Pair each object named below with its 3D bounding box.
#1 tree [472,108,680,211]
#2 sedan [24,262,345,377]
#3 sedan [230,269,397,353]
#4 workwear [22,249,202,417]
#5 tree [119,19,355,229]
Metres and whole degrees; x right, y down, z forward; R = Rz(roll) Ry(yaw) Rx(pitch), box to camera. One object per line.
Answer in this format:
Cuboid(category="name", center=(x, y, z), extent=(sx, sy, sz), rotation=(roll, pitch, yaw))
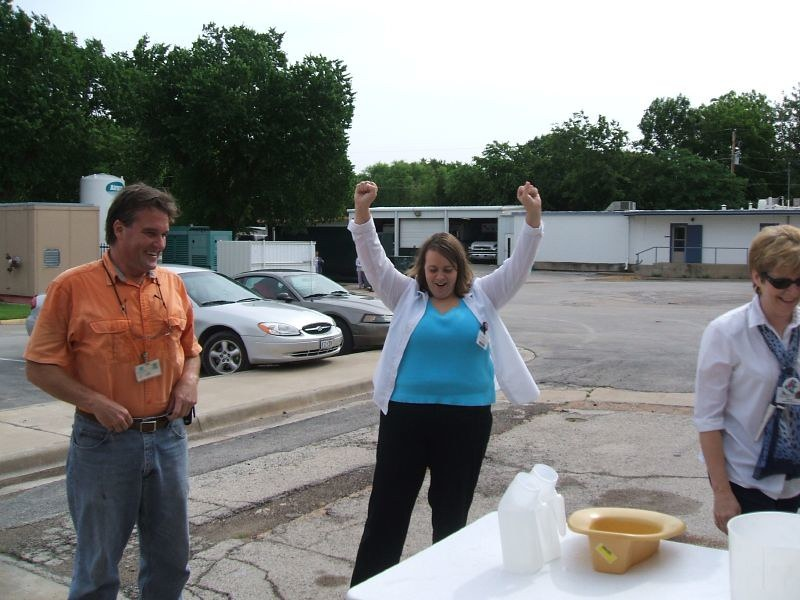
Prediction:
Cuboid(category="tree", center=(15.312, -11.679, 63.118), extent=(15.612, 10.488, 18.397), rotation=(-1, 2, -39))
Cuboid(category="sedan", center=(-3.452, 0.408, 10.977), extent=(4.767, 1.483, 2.082), rotation=(0, 3, 15))
Cuboid(category="sedan", center=(-1.696, 0.158, 12.902), extent=(3.333, 1.095, 1.430), rotation=(5, 5, 35))
Cuboid(category="workwear", center=(-1.350, 0.174, 3.278), extent=(0.402, 0.749, 0.929), rotation=(3, 0, 33))
Cuboid(category="tree", center=(-5.612, -8.316, 32.564), extent=(9.152, 9.768, 10.139), rotation=(15, 29, 16))
